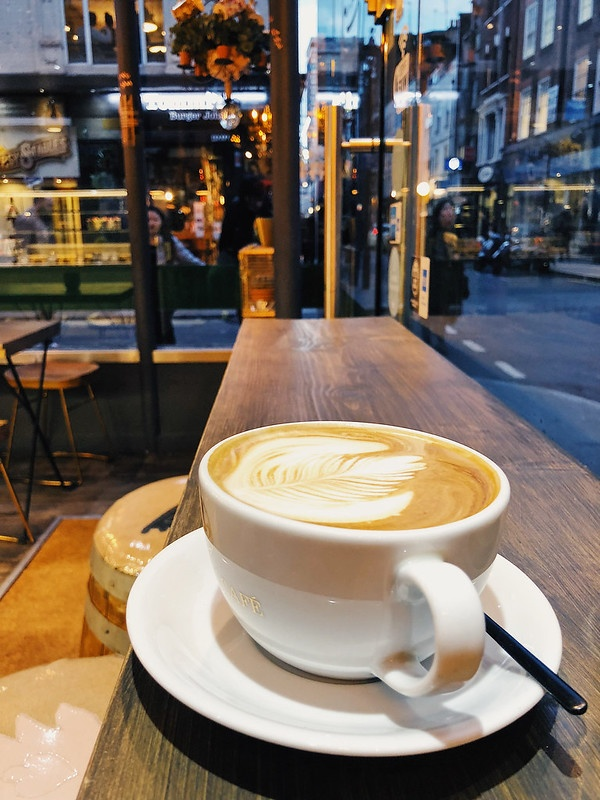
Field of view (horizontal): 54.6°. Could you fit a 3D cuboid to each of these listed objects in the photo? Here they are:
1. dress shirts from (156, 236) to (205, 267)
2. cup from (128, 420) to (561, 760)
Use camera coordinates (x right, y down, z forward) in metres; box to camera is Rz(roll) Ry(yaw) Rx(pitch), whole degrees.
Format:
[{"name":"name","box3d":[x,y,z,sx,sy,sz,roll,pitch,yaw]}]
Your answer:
[{"name":"dress shirts","box3d":[-0.720,-0.842,3.352,0.132,0.098,0.236,-8,34,-21]},{"name":"cup","box3d":[0.023,0.054,0.242,0.136,0.063,0.146,2,22,-1]}]
